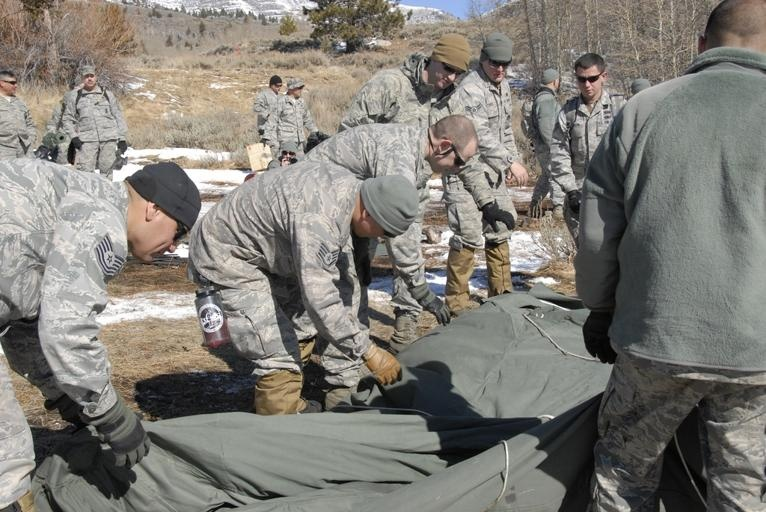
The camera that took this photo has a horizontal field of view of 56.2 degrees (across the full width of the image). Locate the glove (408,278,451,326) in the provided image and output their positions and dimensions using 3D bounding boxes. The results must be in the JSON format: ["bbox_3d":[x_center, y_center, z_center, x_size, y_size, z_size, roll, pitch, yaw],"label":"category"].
[{"bbox_3d":[0.358,0.350,5.360,0.122,0.375,0.219,-39,1,38],"label":"glove"}]

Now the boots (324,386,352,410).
[{"bbox_3d":[-0.284,0.942,4.719,0.170,0.113,0.206,-13,16,-19],"label":"boots"}]

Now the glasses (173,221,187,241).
[{"bbox_3d":[-1.093,-0.132,3.903,0.059,0.064,0.097,14,-2,-13],"label":"glasses"}]

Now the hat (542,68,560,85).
[{"bbox_3d":[2.051,-2.236,8.830,0.208,0.110,0.305,6,25,19],"label":"hat"}]

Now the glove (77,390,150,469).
[{"bbox_3d":[-1.300,0.859,3.548,0.127,0.365,0.283,-11,25,50],"label":"glove"}]

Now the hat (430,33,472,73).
[{"bbox_3d":[0.540,-1.621,5.748,0.299,0.237,0.292,37,37,15],"label":"hat"}]

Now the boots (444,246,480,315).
[{"bbox_3d":[0.684,0.219,6.492,0.181,0.548,0.267,2,-10,7],"label":"boots"}]

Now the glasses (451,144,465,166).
[{"bbox_3d":[0.531,-0.718,5.097,0.089,0.116,0.103,-30,-5,-40],"label":"glasses"}]

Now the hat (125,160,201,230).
[{"bbox_3d":[-1.175,-0.390,3.896,0.437,0.261,0.319,24,-2,-29],"label":"hat"}]

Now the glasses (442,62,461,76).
[{"bbox_3d":[0.551,-1.500,5.705,0.083,0.026,0.085,18,16,-34],"label":"glasses"}]

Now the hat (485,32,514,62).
[{"bbox_3d":[1.049,-1.905,6.443,0.206,0.217,0.286,2,37,-13],"label":"hat"}]

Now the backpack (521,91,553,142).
[{"bbox_3d":[1.814,-1.580,8.236,0.406,0.696,0.742,4,15,8],"label":"backpack"}]

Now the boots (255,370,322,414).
[{"bbox_3d":[-0.599,0.925,4.538,0.221,0.343,0.363,-36,-44,30],"label":"boots"}]

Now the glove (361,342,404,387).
[{"bbox_3d":[-0.004,0.647,4.382,0.179,0.284,0.094,-40,20,6],"label":"glove"}]

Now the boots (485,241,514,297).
[{"bbox_3d":[1.087,0.136,6.749,0.239,0.800,0.188,-1,32,17],"label":"boots"}]
